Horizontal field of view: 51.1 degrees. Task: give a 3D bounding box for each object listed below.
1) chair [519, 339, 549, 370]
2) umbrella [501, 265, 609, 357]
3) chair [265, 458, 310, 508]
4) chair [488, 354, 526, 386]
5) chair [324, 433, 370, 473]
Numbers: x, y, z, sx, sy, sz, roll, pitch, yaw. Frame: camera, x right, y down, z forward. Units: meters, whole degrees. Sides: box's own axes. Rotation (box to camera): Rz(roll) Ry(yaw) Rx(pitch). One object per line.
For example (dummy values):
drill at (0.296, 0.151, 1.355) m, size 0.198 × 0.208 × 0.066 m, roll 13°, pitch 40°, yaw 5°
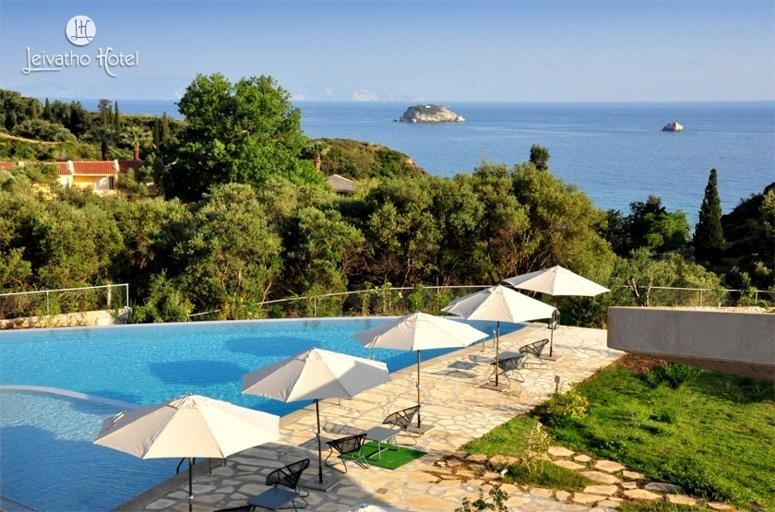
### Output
chair at (7.758, 5.181, 43.081) m, size 1.498 × 1.502 × 1.282 m, roll 0°, pitch 1°, yaw 1°
umbrella at (8.809, 1.759, 44.176) m, size 4.629 × 4.728 × 4.862 m, roll 0°, pitch 0°, yaw -13°
chair at (-4.437, 9.953, 35.936) m, size 1.927 × 1.894 × 2.054 m, roll -1°, pitch 2°, yaw -38°
chair at (6.220, 5.763, 41.384) m, size 1.515 × 1.532 × 1.478 m, roll 3°, pitch -4°, yaw 5°
chair at (-1.905, 8.439, 36.793) m, size 2.066 × 1.716 × 1.289 m, roll -4°, pitch 12°, yaw -33°
